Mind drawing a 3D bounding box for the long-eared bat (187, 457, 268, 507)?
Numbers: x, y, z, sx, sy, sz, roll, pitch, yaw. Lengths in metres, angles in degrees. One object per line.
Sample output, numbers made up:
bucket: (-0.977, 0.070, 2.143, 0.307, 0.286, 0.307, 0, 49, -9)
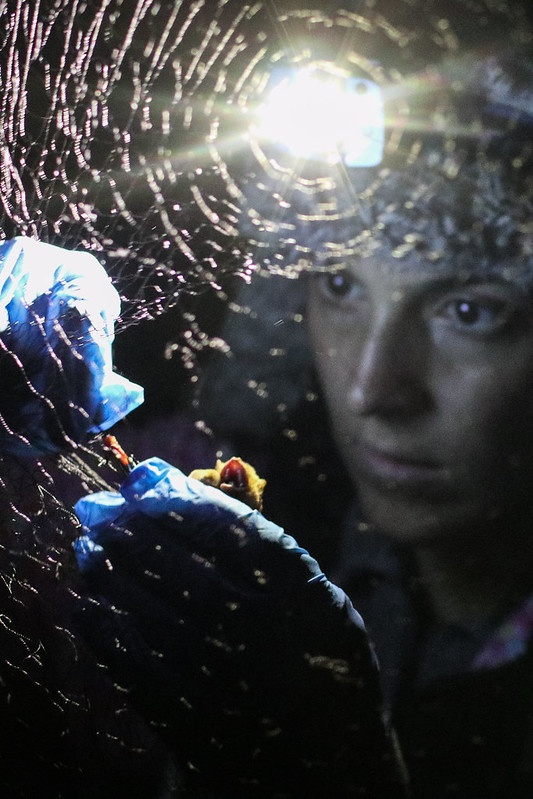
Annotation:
long-eared bat: (-0.039, 0.088, 0.835, 0.063, 0.025, 0.066, 28, -9, 21)

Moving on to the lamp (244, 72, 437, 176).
lamp: (0.062, -0.276, 0.770, 0.155, 0.075, 0.070, 8, -26, 3)

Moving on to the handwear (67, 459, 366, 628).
handwear: (-0.064, 0.151, 0.838, 0.265, 0.143, 0.091, 33, 13, 20)
